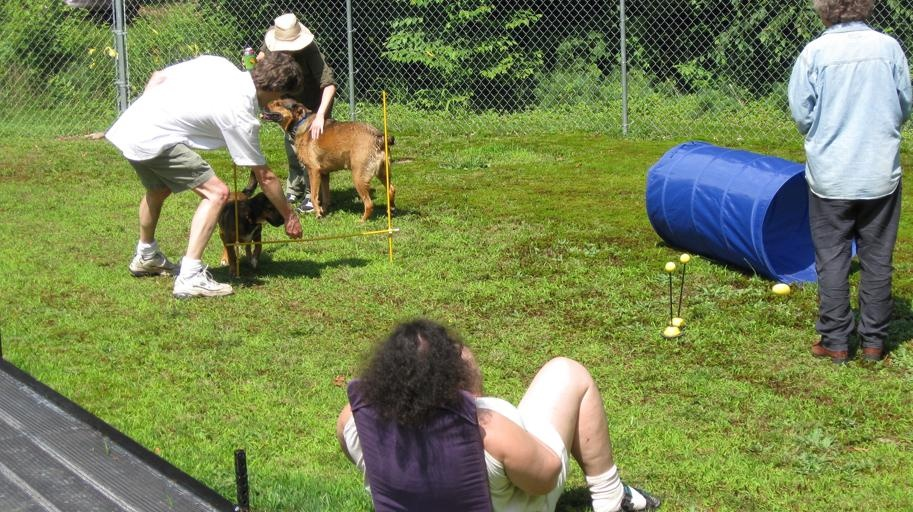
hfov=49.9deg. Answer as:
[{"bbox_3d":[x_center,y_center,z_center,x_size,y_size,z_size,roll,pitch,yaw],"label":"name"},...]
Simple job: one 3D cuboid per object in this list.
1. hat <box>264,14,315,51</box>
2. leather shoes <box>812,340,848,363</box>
[{"bbox_3d":[-2.171,-2.861,12.706,0.610,0.221,0.561,-4,54,5],"label":"hat"},{"bbox_3d":[3.703,0.961,9.781,0.177,0.138,0.320,-10,23,-24],"label":"leather shoes"}]
